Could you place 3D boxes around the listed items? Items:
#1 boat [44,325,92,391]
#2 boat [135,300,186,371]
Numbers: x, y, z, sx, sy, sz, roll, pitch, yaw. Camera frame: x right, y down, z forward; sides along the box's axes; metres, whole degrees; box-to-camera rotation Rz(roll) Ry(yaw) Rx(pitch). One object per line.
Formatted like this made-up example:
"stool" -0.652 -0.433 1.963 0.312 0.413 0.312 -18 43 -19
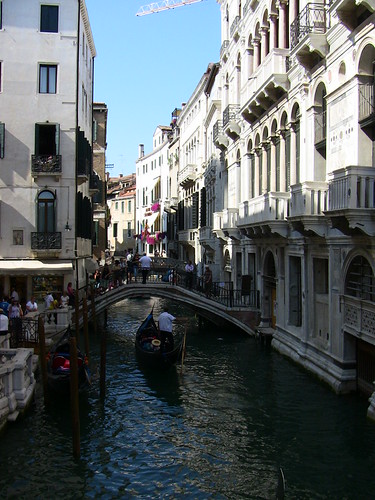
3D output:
"boat" -3.298 3.202 17.168 0.898 1.427 3.480 2 11 -12
"boat" -1.213 3.256 21.756 0.981 1.635 4.711 10 4 -9
